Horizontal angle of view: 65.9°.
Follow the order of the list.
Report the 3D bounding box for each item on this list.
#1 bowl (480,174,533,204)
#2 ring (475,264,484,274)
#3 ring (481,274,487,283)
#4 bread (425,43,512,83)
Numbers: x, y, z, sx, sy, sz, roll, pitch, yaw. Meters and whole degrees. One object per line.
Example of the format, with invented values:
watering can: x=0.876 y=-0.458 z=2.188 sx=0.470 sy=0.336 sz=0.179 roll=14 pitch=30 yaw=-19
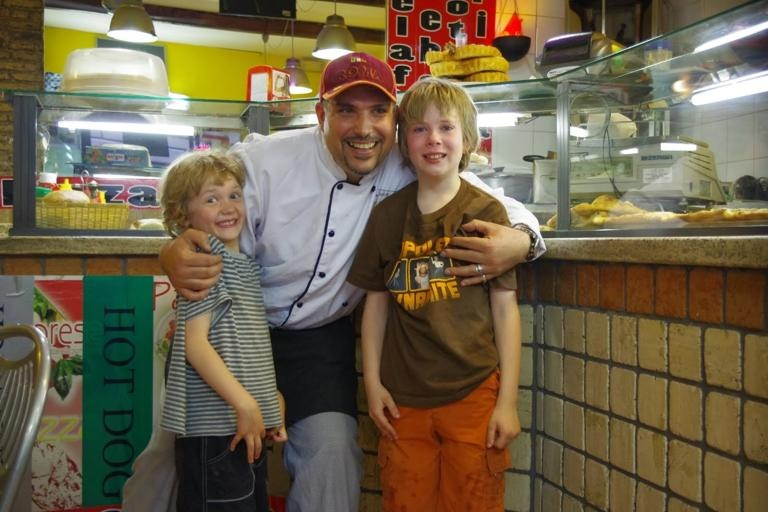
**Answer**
bowl: x=0.589 y=-0.312 z=2.753 sx=0.245 sy=0.130 sz=0.166 roll=4 pitch=8 yaw=15
ring: x=0.348 y=0.053 z=2.150 sx=0.016 sy=0.028 sz=0.029 roll=-6 pitch=2 yaw=-32
ring: x=0.368 y=0.086 z=2.177 sx=0.029 sy=0.027 sz=0.007 roll=1 pitch=16 yaw=-15
bread: x=0.388 y=-0.924 z=2.857 sx=0.334 sy=0.119 sz=0.324 roll=9 pitch=8 yaw=30
